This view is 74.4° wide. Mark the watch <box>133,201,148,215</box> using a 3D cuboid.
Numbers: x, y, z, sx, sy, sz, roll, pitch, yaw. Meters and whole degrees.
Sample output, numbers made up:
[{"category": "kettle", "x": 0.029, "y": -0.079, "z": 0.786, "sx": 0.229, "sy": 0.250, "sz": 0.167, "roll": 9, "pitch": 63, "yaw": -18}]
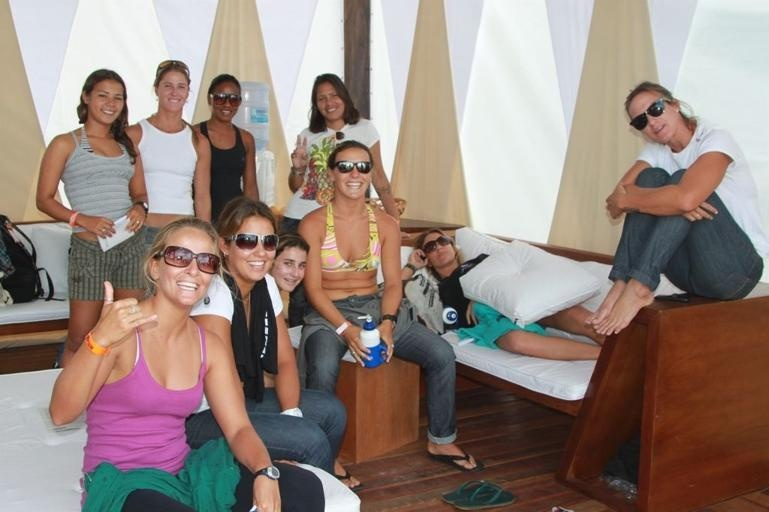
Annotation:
[{"category": "watch", "x": -1.334, "y": -0.263, "z": 2.769, "sx": 0.078, "sy": 0.030, "sz": 0.078, "roll": 37, "pitch": 13, "yaw": 5}]

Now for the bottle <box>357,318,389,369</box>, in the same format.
[{"category": "bottle", "x": -0.057, "y": 0.442, "z": 2.580, "sx": 0.134, "sy": 0.307, "sz": 0.200, "roll": -2, "pitch": 10, "yaw": -2}]

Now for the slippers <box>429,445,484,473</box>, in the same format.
[{"category": "slippers", "x": 0.372, "y": 1.028, "z": 2.609, "sx": 0.243, "sy": 0.067, "sz": 0.097, "roll": 7, "pitch": 13, "yaw": 25}]

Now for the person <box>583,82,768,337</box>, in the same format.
[{"category": "person", "x": 1.581, "y": -0.215, "z": 3.170, "sx": 1.277, "sy": 1.711, "sz": 0.837, "roll": 1, "pitch": -2, "yaw": -7}]

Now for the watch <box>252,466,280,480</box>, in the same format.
[{"category": "watch", "x": -0.371, "y": 0.683, "z": 1.585, "sx": 0.064, "sy": 0.040, "sz": 0.066, "roll": -14, "pitch": -15, "yaw": 17}]

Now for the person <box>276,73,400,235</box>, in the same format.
[{"category": "person", "x": -0.351, "y": -0.338, "z": 3.436, "sx": 0.745, "sy": 1.727, "sz": 0.474, "roll": 1, "pitch": 0, "yaw": 9}]

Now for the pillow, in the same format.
[{"category": "pillow", "x": 0.857, "y": 0.125, "z": 2.915, "sx": 0.501, "sy": 0.176, "sz": 0.587, "roll": -29, "pitch": 30, "yaw": -23}]

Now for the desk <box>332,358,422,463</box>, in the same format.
[{"category": "desk", "x": -0.062, "y": 0.808, "z": 2.631, "sx": 0.561, "sy": 0.538, "sz": 0.296, "roll": -3, "pitch": 2, "yaw": -41}]

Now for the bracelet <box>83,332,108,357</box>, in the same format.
[{"category": "bracelet", "x": -0.837, "y": 0.252, "z": 1.465, "sx": 0.025, "sy": 0.062, "sz": 0.064, "roll": -22, "pitch": -5, "yaw": 22}]

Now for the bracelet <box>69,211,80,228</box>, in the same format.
[{"category": "bracelet", "x": -1.593, "y": -0.189, "z": 2.606, "sx": 0.030, "sy": 0.076, "sz": 0.058, "roll": 9, "pitch": -11, "yaw": -24}]

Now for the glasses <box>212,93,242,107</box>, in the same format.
[{"category": "glasses", "x": -1.006, "y": -1.001, "z": 3.219, "sx": 0.166, "sy": 0.070, "sz": 0.042, "roll": -5, "pitch": 11, "yaw": -17}]
